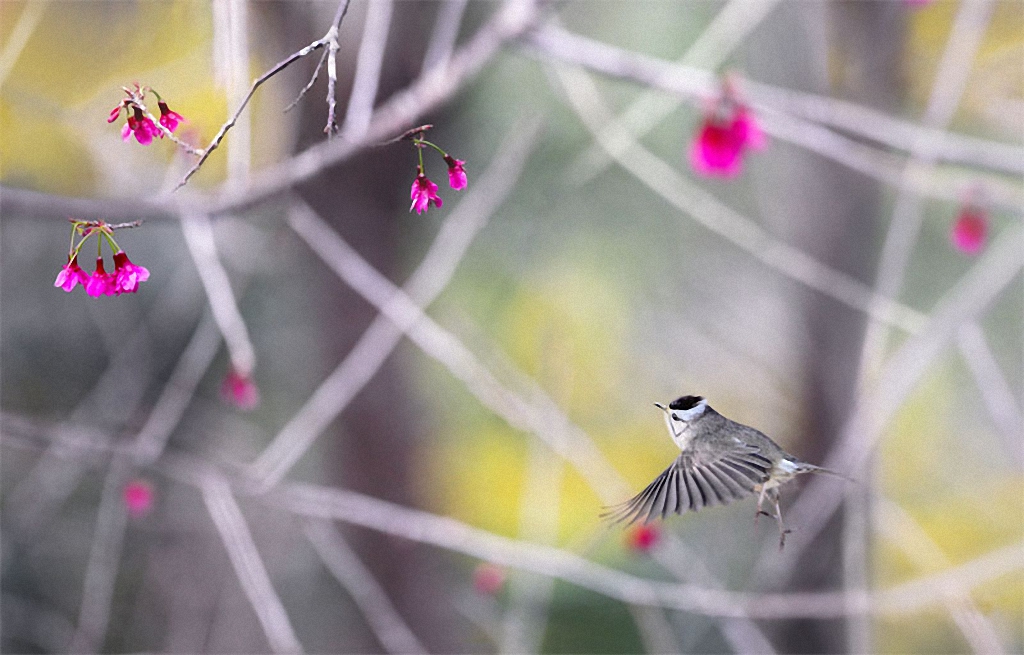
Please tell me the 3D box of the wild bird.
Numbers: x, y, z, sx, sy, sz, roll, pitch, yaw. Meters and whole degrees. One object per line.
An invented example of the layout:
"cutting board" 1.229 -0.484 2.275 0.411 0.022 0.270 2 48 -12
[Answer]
"wild bird" 0.443 0.279 1.977 0.305 0.408 0.201 -3 -91 25
